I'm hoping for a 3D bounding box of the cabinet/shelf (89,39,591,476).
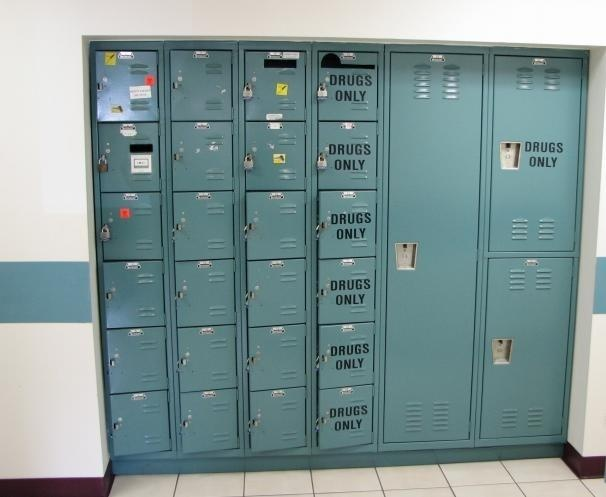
[{"bbox_3d":[0.160,-0.054,4.126,2.810,2.598,0.861,-1,2,-5],"label":"cabinet/shelf"}]
